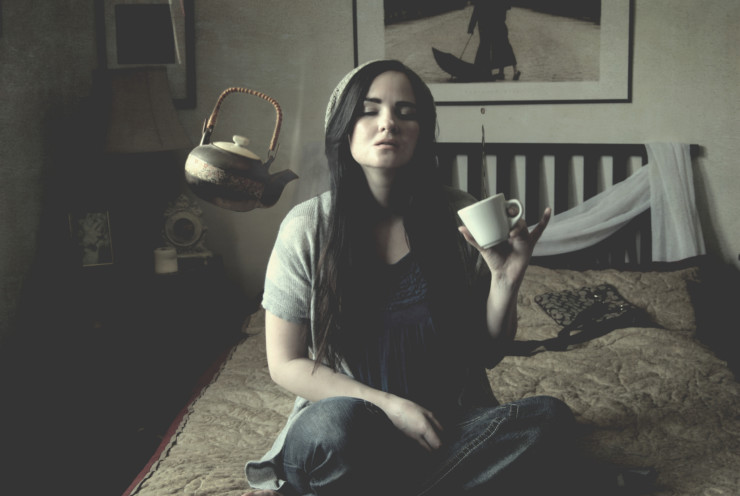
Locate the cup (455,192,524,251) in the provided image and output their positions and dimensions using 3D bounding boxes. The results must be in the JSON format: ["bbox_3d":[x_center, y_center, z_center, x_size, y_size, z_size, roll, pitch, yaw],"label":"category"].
[{"bbox_3d":[0.325,-0.073,1.603,0.167,0.116,0.132,-20,6,21],"label":"cup"}]

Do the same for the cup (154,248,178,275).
[{"bbox_3d":[-0.973,0.067,2.741,0.118,0.127,0.116,0,1,0],"label":"cup"}]

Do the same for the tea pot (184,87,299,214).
[{"bbox_3d":[-0.359,-0.278,1.618,0.251,0.343,0.207,6,11,16],"label":"tea pot"}]
